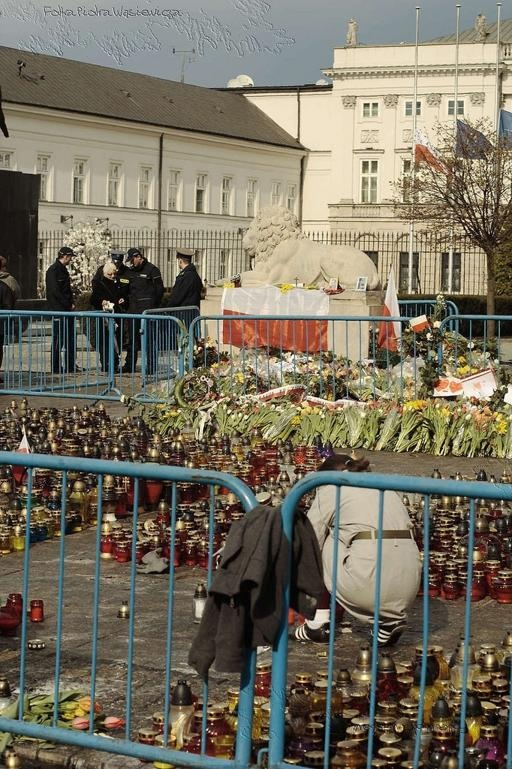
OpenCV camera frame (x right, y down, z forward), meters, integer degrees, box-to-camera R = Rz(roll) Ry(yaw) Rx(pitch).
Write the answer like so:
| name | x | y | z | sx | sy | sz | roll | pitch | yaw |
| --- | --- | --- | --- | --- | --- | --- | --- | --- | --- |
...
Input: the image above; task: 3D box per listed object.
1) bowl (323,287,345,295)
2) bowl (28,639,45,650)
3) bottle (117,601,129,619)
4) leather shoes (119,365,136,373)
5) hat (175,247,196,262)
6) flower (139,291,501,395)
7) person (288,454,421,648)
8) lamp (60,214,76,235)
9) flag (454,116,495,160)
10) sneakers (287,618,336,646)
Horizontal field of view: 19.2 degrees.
| name | x | y | z | sx | sy | sz | roll | pitch | yaw |
| --- | --- | --- | --- | --- | --- | --- | --- | --- | --- |
| bowl | 0.941 | -1.146 | 18.096 | 0.192 | 0.085 | 0.182 | 3 | -1 | 0 |
| bowl | -0.928 | 1.113 | 6.466 | 0.045 | 0.025 | 0.047 | 2 | -3 | 0 |
| bottle | -0.604 | 1.035 | 6.901 | 0.068 | 0.082 | 0.070 | -1 | 8 | -21 |
| leather shoes | -1.352 | -0.175 | 15.816 | 0.111 | 0.081 | 0.118 | 3 | -3 | -30 |
| hat | -0.898 | -1.622 | 18.429 | 0.315 | 0.167 | 0.389 | 1 | 8 | -26 |
| flower | 0.720 | -0.380 | 14.346 | 1.779 | 0.493 | 2.006 | 5 | 6 | 31 |
| person | 0.459 | 0.731 | 6.594 | 0.477 | 0.864 | 0.575 | 1 | 1 | -22 |
| lamp | -6.489 | -5.801 | 53.048 | 0.393 | 0.492 | 0.817 | -1 | 0 | 14 |
| flag | 5.654 | -6.484 | 39.580 | 0.870 | 1.095 | 3.999 | -1 | 0 | 7 |
| sneakers | 0.243 | 1.102 | 6.731 | 0.254 | 0.119 | 0.093 | 5 | 1 | 45 |
